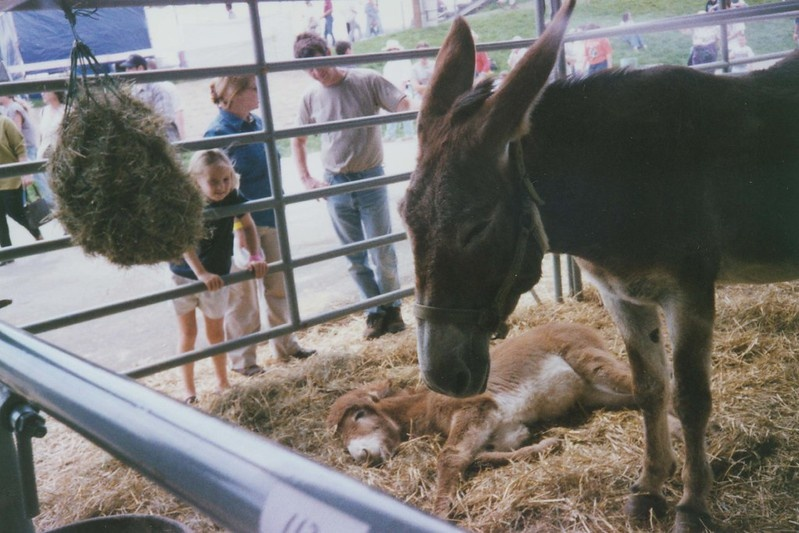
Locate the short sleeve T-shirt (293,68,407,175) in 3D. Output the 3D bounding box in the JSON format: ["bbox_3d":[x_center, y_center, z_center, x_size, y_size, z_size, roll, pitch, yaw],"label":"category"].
[{"bbox_3d":[-0.411,-1.247,6.776,1.167,0.928,0.421,-3,12,26],"label":"short sleeve T-shirt"}]
